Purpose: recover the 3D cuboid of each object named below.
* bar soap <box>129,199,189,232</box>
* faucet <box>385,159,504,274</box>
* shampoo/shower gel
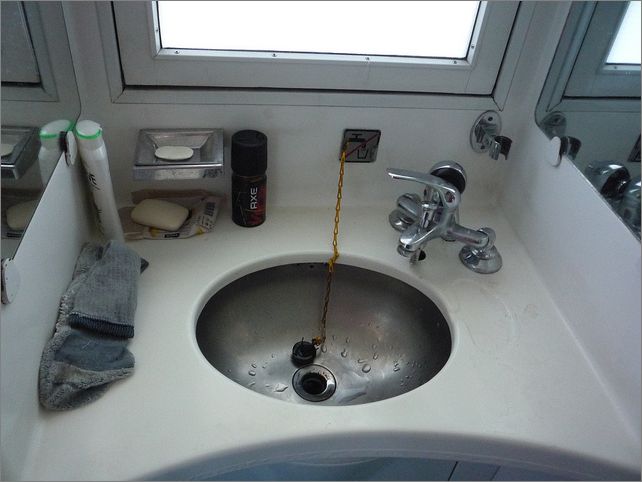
[{"bbox_3d":[-0.402,-0.063,1.192,0.129,0.056,0.065,6,30,5],"label":"bar soap"},{"bbox_3d":[0.284,-0.098,1.190,0.332,0.272,0.250,-3,30,-9],"label":"faucet"},{"bbox_3d":[-0.480,-0.128,1.091,0.072,0.312,0.106,3,35,-3],"label":"shampoo/shower gel"}]
